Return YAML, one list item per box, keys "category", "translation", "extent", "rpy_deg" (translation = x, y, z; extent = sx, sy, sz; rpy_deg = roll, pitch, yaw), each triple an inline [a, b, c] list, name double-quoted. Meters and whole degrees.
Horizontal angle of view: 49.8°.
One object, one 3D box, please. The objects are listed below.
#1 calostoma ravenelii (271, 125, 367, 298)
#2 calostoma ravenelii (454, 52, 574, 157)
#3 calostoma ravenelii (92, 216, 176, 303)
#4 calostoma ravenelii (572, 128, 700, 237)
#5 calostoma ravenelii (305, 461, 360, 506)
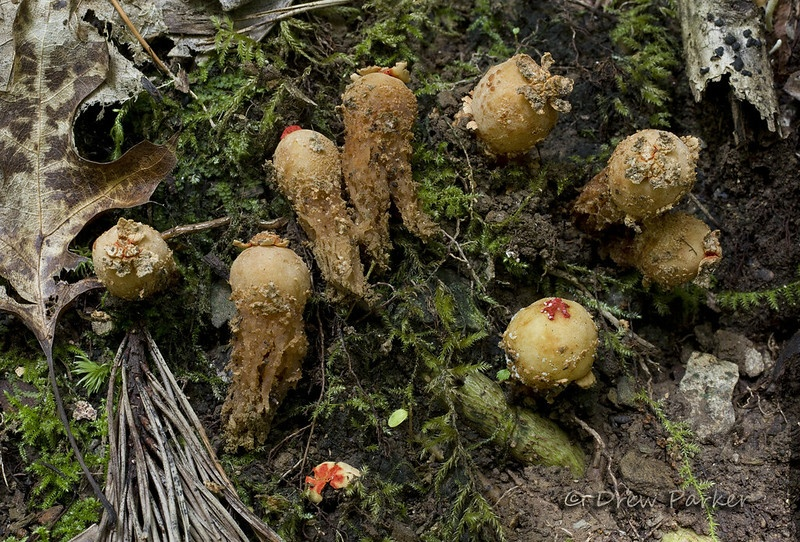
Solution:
- category: "calostoma ravenelii"
  translation: [-0.414, -0.309, 4.503]
  extent: [0.392, 0.384, 0.916]
  rpy_deg: [-16, 83, -8]
- category: "calostoma ravenelii"
  translation: [0.624, -0.834, 4.529]
  extent: [0.424, 0.537, 0.424]
  rpy_deg: [29, 59, -1]
- category: "calostoma ravenelii"
  translation: [-1.367, -0.064, 4.479]
  extent: [0.360, 0.430, 0.407]
  rpy_deg: [11, 35, 10]
- category: "calostoma ravenelii"
  translation: [1.162, -0.402, 4.360]
  extent: [0.417, 0.626, 0.229]
  rpy_deg: [28, 44, -20]
- category: "calostoma ravenelii"
  translation: [-0.342, 1.064, 4.418]
  extent: [0.293, 0.121, 0.156]
  rpy_deg: [-12, 48, -16]
